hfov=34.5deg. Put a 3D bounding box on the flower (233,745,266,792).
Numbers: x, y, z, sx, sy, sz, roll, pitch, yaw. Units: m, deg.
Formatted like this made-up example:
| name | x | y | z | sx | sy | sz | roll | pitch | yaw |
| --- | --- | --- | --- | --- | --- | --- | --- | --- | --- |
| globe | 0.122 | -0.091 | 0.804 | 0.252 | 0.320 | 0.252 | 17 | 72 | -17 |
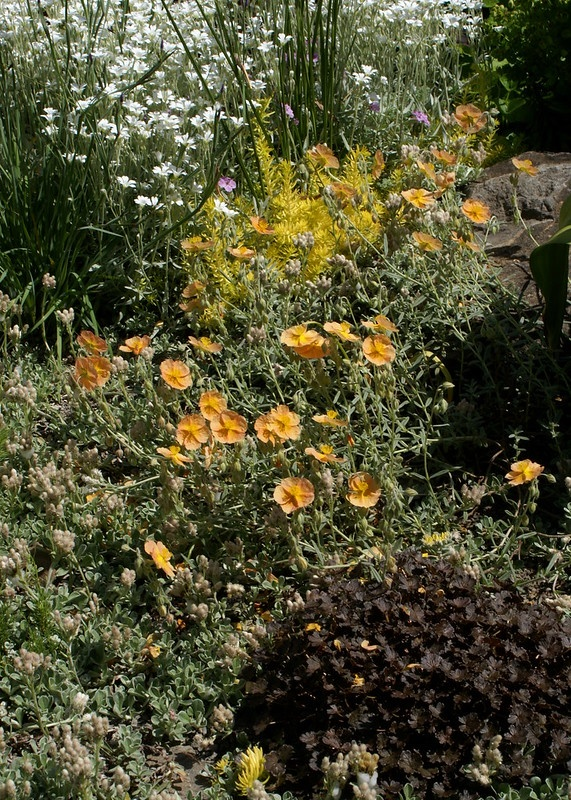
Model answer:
| name | x | y | z | sx | sy | sz | roll | pitch | yaw |
| --- | --- | --- | --- | --- | --- | --- | --- | --- | --- |
| flower | -0.082 | 0.788 | 1.946 | 0.065 | 0.099 | 0.091 | -2 | 41 | -14 |
